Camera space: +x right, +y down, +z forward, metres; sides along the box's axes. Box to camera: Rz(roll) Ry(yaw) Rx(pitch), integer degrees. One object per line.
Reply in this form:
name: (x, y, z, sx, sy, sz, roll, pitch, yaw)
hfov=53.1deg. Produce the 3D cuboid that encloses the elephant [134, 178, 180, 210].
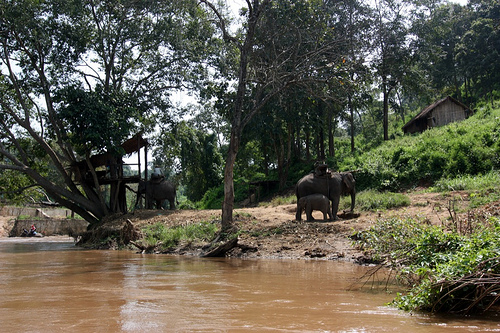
elephant: (-6.155, 1.815, 33.045, 2.362, 2.179, 0.979, -1, 8, -7)

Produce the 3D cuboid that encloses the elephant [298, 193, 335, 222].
elephant: (3.309, 2.048, 25.205, 1.729, 1.370, 0.706, 1, 8, 6)
